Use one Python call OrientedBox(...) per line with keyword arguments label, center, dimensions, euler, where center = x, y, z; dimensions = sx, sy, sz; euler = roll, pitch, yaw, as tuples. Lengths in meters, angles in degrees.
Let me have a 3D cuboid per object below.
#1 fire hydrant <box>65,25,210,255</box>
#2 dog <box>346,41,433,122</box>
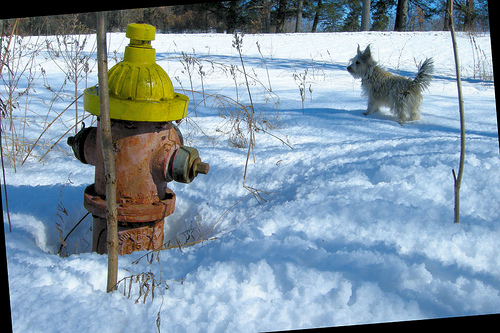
OrientedBox(label="fire hydrant", center=(-1.007, -0.175, 4.308), dimensions=(1.170, 2.121, 0.627), euler=(-4, 16, -7))
OrientedBox(label="dog", center=(2.090, -1.270, 7.248), dimensions=(0.530, 1.060, 1.250), euler=(-14, 20, -36))
